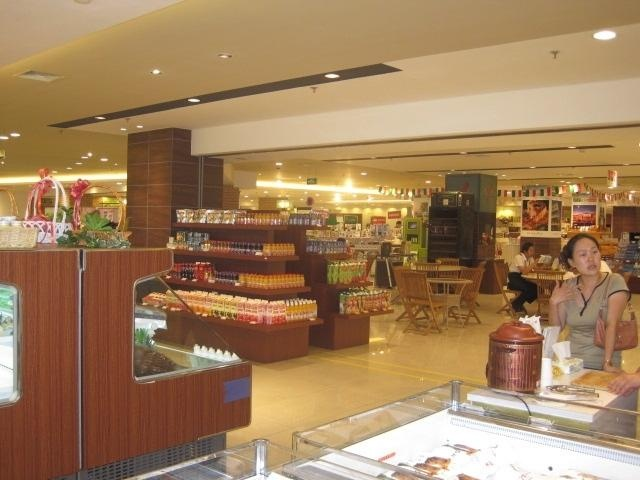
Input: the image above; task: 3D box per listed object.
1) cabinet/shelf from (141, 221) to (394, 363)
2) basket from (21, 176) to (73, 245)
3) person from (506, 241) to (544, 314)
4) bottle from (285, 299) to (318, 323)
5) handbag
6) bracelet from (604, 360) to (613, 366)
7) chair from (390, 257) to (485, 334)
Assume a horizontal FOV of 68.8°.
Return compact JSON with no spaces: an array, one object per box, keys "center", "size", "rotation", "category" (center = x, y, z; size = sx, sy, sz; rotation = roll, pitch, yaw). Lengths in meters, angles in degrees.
[{"center":[-0.593,0.747,7.713],"size":[2.368,1.521,3.612],"rotation":[-3,4,-43],"category":"cabinet/shelf"},{"center":[-1.919,-0.274,3.342],"size":[0.287,0.334,0.256],"rotation":[2,20,-3],"category":"basket"},{"center":[4.553,0.889,10.574],"size":[0.600,1.638,0.940],"rotation":[1,1,21],"category":"person"},{"center":[-0.294,1.049,6.972],"size":[0.580,0.319,0.186],"rotation":[0,1,-27],"category":"bottle"},{"center":[2.235,0.577,3.449],"size":[0.233,0.382,0.729],"rotation":[2,2,43],"category":"handbag"},{"center":[1.898,0.818,3.092],"size":[0.032,0.032,0.039],"rotation":[-4,4,6],"category":"bracelet"},{"center":[2.367,1.171,9.589],"size":[1.707,0.765,1.661],"rotation":[-4,5,-44],"category":"chair"}]
